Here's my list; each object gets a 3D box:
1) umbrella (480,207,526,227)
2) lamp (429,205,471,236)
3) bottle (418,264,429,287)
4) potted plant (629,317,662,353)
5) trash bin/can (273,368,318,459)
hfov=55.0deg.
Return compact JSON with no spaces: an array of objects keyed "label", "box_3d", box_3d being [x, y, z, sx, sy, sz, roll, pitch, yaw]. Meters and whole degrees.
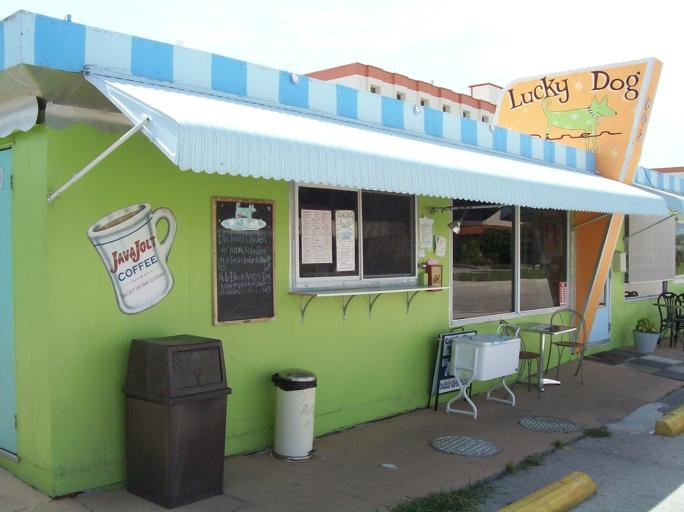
[{"label":"umbrella","box_3d":[2.585,-0.625,10.605,0.119,0.319,0.903,6,7,43]},{"label":"lamp","box_3d":[1.679,-0.548,9.763,0.803,0.506,0.300,0,3,-14]},{"label":"bottle","box_3d":[1.152,0.267,9.237,0.152,0.288,0.135,-3,7,-38]},{"label":"potted plant","box_3d":[6.362,1.644,13.583,0.628,0.816,0.620,6,-5,-42]},{"label":"trash bin/can","box_3d":[-0.552,1.840,7.607,0.604,0.916,0.537,3,-2,-7]}]
